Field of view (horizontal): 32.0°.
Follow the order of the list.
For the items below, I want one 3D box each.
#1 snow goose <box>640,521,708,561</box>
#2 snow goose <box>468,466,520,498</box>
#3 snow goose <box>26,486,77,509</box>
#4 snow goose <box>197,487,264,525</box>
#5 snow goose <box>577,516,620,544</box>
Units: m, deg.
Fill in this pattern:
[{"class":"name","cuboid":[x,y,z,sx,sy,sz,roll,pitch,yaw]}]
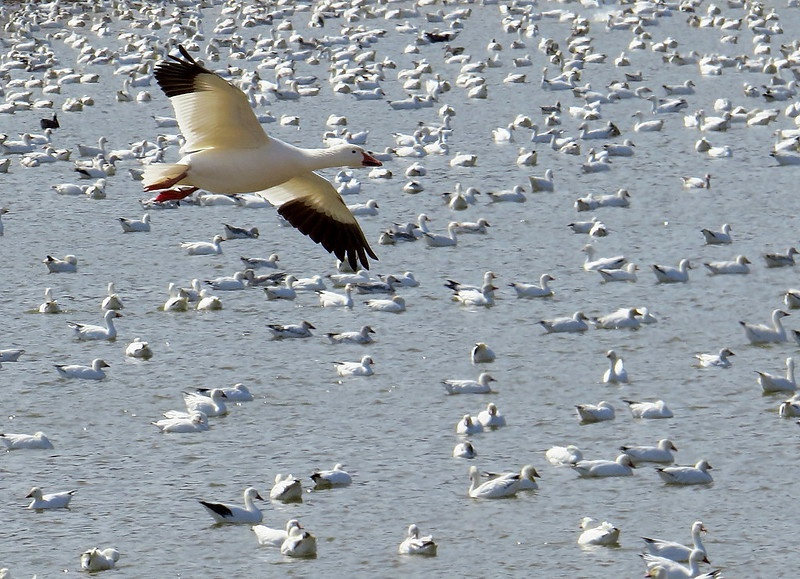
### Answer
[{"class":"snow goose","cuboid":[6.247,5.877,32.274,2.151,0.625,0.763,4,86,4]},{"class":"snow goose","cuboid":[2.320,4.756,33.869,1.239,0.374,0.646,1,64,2]},{"class":"snow goose","cuboid":[-8.301,5.010,33.338,1.161,0.701,0.524,-6,69,-1]},{"class":"snow goose","cuboid":[-3.997,5.178,33.262,1.682,1.916,0.532,-4,100,-18]},{"class":"snow goose","cuboid":[4.631,5.645,32.450,0.953,0.676,0.646,2,68,3]}]
